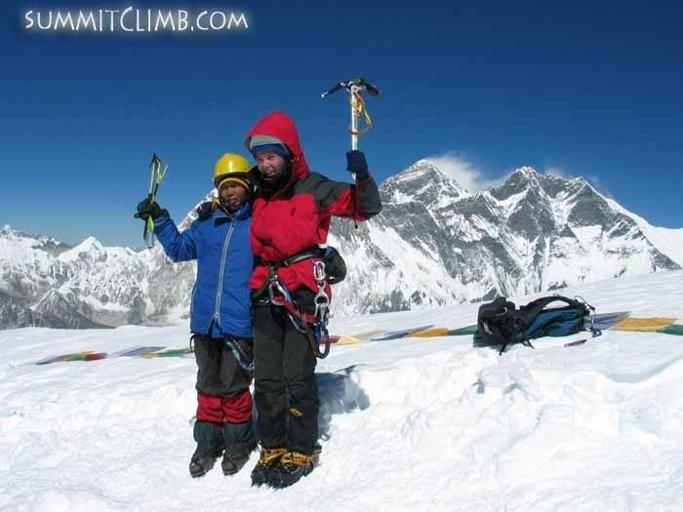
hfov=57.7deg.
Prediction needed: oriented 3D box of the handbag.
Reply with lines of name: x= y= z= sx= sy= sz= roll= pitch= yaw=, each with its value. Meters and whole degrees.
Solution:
handbag: x=3.047 y=1.034 z=9.916 sx=1.274 sy=0.579 sz=0.972 roll=-8 pitch=-7 yaw=-2

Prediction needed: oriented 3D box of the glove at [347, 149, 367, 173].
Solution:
glove: x=0.180 y=-1.152 z=7.572 sx=0.243 sy=0.329 sz=0.219 roll=-4 pitch=-6 yaw=3
